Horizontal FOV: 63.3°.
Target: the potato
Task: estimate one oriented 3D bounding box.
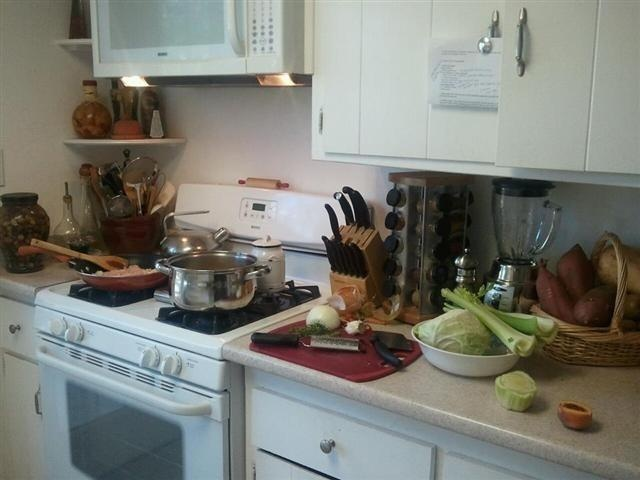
[{"bbox_3d":[0.757,0.119,1.469,0.264,0.208,0.193,4,14,23],"label":"potato"}]

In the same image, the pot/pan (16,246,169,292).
[{"bbox_3d":[-0.836,0.098,1.915,0.426,0.070,0.256,14,15,16],"label":"pot/pan"}]

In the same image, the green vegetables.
[{"bbox_3d":[0.490,0.226,1.419,0.148,0.095,0.260,-34,49,-27],"label":"green vegetables"}]

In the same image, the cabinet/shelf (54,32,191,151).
[{"bbox_3d":[-0.889,-0.632,2.381,0.466,0.346,0.489,1,7,7],"label":"cabinet/shelf"}]

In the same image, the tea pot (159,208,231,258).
[{"bbox_3d":[-0.498,-0.020,2.093,0.249,0.203,0.221,-1,6,-4],"label":"tea pot"}]
